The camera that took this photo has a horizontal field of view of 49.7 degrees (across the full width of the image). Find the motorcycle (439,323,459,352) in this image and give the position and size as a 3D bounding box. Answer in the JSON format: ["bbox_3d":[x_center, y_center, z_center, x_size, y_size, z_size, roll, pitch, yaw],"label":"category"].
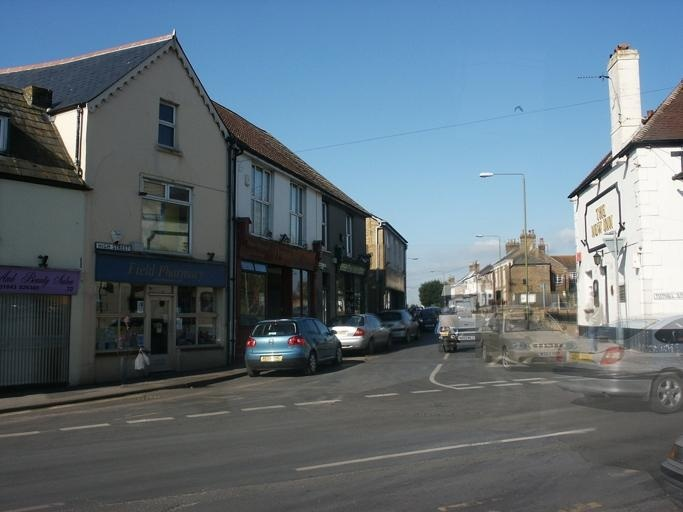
[{"bbox_3d":[4.257,3.264,29.270,0.672,1.041,1.264,-1,1,14],"label":"motorcycle"}]

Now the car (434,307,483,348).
[{"bbox_3d":[4.720,3.047,30.256,1.319,1.186,2.245,0,-11,-1],"label":"car"}]

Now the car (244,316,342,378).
[{"bbox_3d":[-1.283,2.695,22.456,1.517,1.646,3.095,0,1,34],"label":"car"}]

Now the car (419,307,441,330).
[{"bbox_3d":[5.977,4.107,49.560,1.227,1.499,2.746,-3,-14,5],"label":"car"}]
